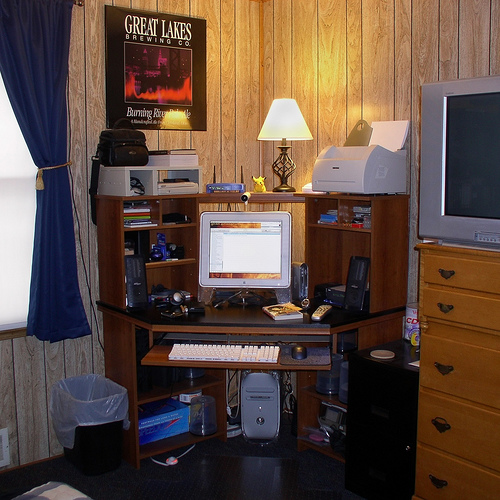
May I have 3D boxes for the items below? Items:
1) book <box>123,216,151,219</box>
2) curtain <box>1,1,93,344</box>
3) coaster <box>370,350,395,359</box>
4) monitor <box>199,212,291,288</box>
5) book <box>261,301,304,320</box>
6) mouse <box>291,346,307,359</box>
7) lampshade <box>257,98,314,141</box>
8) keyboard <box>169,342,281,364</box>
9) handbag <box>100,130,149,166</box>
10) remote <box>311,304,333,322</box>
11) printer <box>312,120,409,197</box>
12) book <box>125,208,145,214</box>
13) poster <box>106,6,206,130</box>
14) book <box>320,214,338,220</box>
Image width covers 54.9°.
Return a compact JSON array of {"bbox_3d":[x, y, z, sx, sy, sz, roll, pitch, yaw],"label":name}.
[{"bbox_3d":[-0.622,-0.177,2.644,0.032,0.017,0.175,1,2,32],"label":"book"},{"bbox_3d":[-1.068,-0.399,2.546,0.414,1.814,0.236,-1,1,-26],"label":"curtain"},{"bbox_3d":[0.630,0.498,2.282,0.115,0.014,0.092,0,2,7],"label":"coaster"},{"bbox_3d":[-0.012,0.006,2.702,0.348,0.352,0.040,0,-2,6],"label":"monitor"},{"bbox_3d":[0.160,0.319,2.496,0.180,0.044,0.233,-1,2,-19],"label":"book"},{"bbox_3d":[0.234,0.483,2.279,0.047,0.036,0.052,0,4,-13],"label":"mouse"},{"bbox_3d":[0.209,-0.849,3.121,0.383,0.288,0.357,-9,9,-39],"label":"lampshade"},{"bbox_3d":[-0.128,0.492,2.374,0.550,0.069,0.243,0,2,7],"label":"keyboard"},{"bbox_3d":[-0.700,-0.575,2.681,0.284,0.272,0.154,-9,7,-42],"label":"handbag"},{"bbox_3d":[0.360,0.313,2.442,0.046,0.031,0.142,-1,14,20],"label":"remote"},{"bbox_3d":[0.604,-0.521,2.658,0.396,0.454,0.432,-2,8,-28],"label":"printer"},{"bbox_3d":[-0.633,-0.212,2.629,0.004,0.035,0.121,1,2,41],"label":"book"},{"bbox_3d":[-0.607,-1.133,2.965,0.769,0.903,0.032,-2,3,-38],"label":"poster"},{"bbox_3d":[0.460,-0.189,2.792,0.112,0.031,0.027,1,2,39],"label":"book"}]
